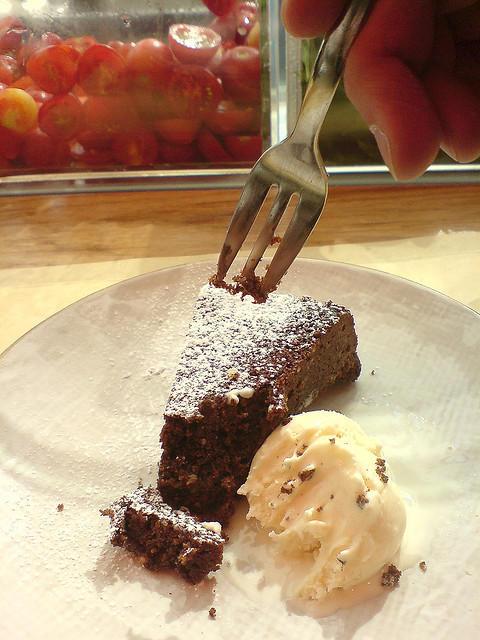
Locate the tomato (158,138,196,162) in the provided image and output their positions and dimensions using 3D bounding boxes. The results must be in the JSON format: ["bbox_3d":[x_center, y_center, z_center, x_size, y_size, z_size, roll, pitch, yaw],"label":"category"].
[{"bbox_3d":[-0.289,-0.736,2.940,0.110,0.029,0.092,-2,-22,-4],"label":"tomato"}]

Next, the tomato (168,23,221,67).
[{"bbox_3d":[-0.191,-1.148,2.799,0.267,0.146,0.236,-6,17,-28],"label":"tomato"}]

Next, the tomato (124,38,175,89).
[{"bbox_3d":[-0.365,-1.030,2.756,0.216,0.209,0.198,9,12,3],"label":"tomato"}]

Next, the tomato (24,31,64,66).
[{"bbox_3d":[-0.834,-1.156,2.859,0.158,0.120,0.138,0,4,3],"label":"tomato"}]

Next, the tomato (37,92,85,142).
[{"bbox_3d":[-0.757,-0.857,2.837,0.183,0.178,0.111,-7,39,-10],"label":"tomato"}]
